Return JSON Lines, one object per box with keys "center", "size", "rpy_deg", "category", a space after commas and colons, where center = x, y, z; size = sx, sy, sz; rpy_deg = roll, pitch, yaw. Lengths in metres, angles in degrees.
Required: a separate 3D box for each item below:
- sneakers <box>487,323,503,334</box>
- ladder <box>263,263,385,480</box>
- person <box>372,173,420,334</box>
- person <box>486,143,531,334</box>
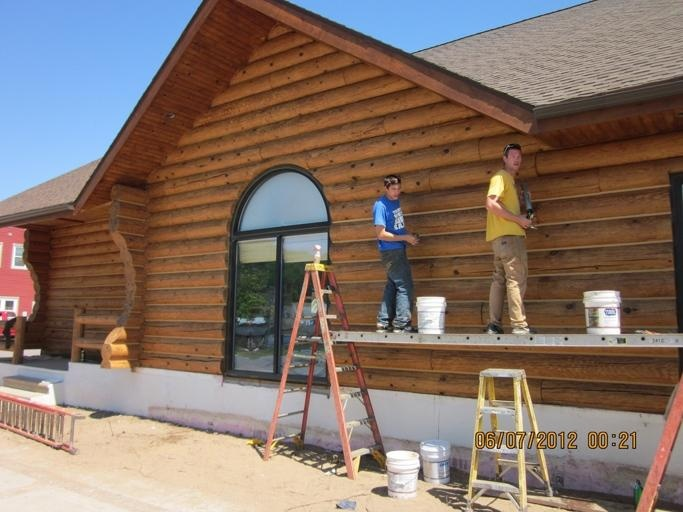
{"center": [1.614, 0.780, 5.445], "size": [0.095, 0.083, 0.233], "rpy_deg": [8, -13, 37], "category": "sneakers"}
{"center": [-0.290, 1.387, 6.800], "size": [1.232, 2.576, 1.848], "rpy_deg": [3, -5, -32], "category": "ladder"}
{"center": [0.668, -0.041, 6.242], "size": [0.522, 1.899, 0.718], "rpy_deg": [0, -5, 4], "category": "person"}
{"center": [1.811, -0.238, 5.550], "size": [0.494, 2.127, 0.688], "rpy_deg": [-1, -5, 15], "category": "person"}
